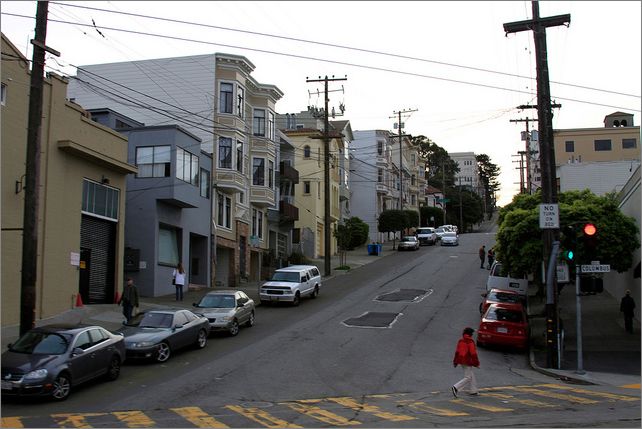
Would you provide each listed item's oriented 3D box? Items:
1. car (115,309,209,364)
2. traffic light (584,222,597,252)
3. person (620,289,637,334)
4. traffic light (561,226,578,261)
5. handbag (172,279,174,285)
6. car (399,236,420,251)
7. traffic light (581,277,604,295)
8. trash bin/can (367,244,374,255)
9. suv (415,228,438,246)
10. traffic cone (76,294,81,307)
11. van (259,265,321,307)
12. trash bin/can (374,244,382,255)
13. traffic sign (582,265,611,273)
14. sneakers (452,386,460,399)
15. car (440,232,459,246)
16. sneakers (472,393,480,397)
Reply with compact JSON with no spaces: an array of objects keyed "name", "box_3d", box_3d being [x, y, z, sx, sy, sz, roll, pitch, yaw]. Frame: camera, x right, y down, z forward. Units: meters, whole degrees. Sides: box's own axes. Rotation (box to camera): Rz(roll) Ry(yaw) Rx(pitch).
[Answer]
[{"name":"car","box_3d":[-6.548,5.048,27.151,1.460,2.033,3.587,-5,-7,36]},{"name":"traffic light","box_3d":[10.496,0.892,25.062,0.406,1.088,0.518,-3,-6,19]},{"name":"person","box_3d":[15.285,4.806,32.024,0.613,2.043,1.438,-3,-6,24]},{"name":"traffic light","box_3d":[10.233,1.163,26.369,0.547,1.431,0.917,-3,-6,20]},{"name":"handbag","box_3d":[-8.358,3.799,37.010,0.136,0.286,0.283,2,-7,-28]},{"name":"car","box_3d":[9.611,3.119,69.503,1.971,1.485,1.915,-2,-6,6]},{"name":"traffic light","box_3d":[10.769,2.757,25.585,0.848,0.724,0.601,-6,-7,37]},{"name":"trash bin/can","box_3d":[5.055,3.516,65.738,0.930,0.881,0.848,-1,-4,10]},{"name":"suv","box_3d":[12.660,2.561,76.721,2.114,2.123,2.395,-2,-6,4]},{"name":"traffic cone","box_3d":[-12.170,4.324,32.729,0.241,0.668,0.502,-1,-6,-2]},{"name":"van","box_3d":[-1.740,4.237,38.863,1.918,2.355,3.832,-5,-7,33]},{"name":"trash bin/can","box_3d":[5.871,3.587,65.224,0.491,1.070,0.995,-1,-6,0]},{"name":"traffic sign","box_3d":[11.210,2.173,26.181,0.966,0.350,1.307,-5,-7,29]},{"name":"sneakers","box_3d":[4.698,6.079,22.294,0.172,0.418,0.153,-13,15,-5]},{"name":"car","box_3d":[15.009,2.804,74.335,1.791,1.591,2.431,-2,-6,7]},{"name":"sneakers","box_3d":[5.407,6.201,22.436,0.285,0.117,0.104,-4,0,1]}]
